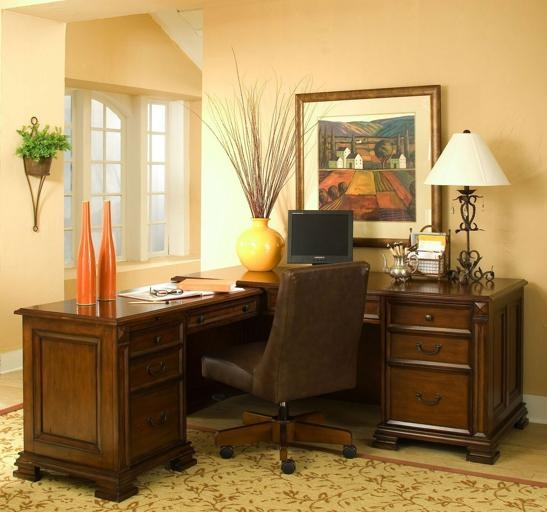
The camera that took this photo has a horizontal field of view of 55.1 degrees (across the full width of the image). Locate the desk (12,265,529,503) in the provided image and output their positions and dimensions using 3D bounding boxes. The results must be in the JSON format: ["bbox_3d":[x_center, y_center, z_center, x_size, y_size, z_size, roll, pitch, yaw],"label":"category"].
[{"bbox_3d":[-0.109,0.503,2.132,1.458,0.521,1.459,1,3,32],"label":"desk"}]

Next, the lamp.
[{"bbox_3d":[1.015,-0.280,2.824,0.425,0.829,0.572,2,7,22],"label":"lamp"}]

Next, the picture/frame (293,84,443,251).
[{"bbox_3d":[0.606,-0.533,3.188,1.173,1.173,0.088,2,6,24],"label":"picture/frame"}]

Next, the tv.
[{"bbox_3d":[0.287,-0.104,3.076,0.365,0.278,0.068,0,-2,10],"label":"tv"}]

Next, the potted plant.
[{"bbox_3d":[-1.665,-0.799,3.779,0.393,0.366,0.342,-10,25,-37],"label":"potted plant"}]

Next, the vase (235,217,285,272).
[{"bbox_3d":[-0.086,-0.075,3.269,0.327,0.314,0.316,9,15,25],"label":"vase"}]

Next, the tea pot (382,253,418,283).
[{"bbox_3d":[0.664,0.071,2.830,0.201,0.144,0.153,4,10,35],"label":"tea pot"}]
